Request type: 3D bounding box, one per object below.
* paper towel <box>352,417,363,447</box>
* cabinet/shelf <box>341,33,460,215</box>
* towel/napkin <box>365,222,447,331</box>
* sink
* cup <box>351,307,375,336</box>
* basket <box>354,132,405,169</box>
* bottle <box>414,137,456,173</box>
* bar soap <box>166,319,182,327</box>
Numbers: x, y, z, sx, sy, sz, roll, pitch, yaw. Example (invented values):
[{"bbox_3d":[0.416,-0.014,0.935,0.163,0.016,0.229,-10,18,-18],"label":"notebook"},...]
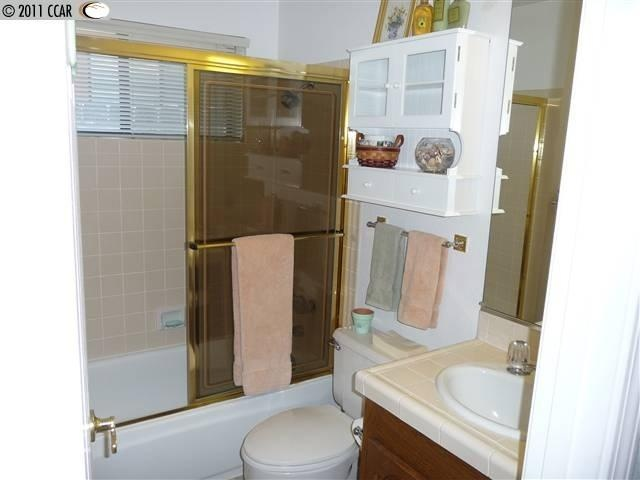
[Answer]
[{"bbox_3d":[0.151,0.770,1.995,0.027,0.102,0.109,-5,-19,-14],"label":"paper towel"},{"bbox_3d":[0.375,-0.488,2.107,0.210,0.686,0.622,-10,15,-34],"label":"cabinet/shelf"},{"bbox_3d":[0.401,0.156,2.243,0.077,0.368,0.479,-1,9,-27],"label":"towel/napkin"},{"bbox_3d":[0.514,0.536,1.582,0.280,0.160,0.375,5,13,26],"label":"sink"},{"bbox_3d":[0.222,0.404,2.475,0.107,0.097,0.114,0,-2,0],"label":"cup"},{"bbox_3d":[0.269,-0.405,2.249,0.230,0.151,0.225,3,8,-12],"label":"basket"},{"bbox_3d":[0.457,-0.342,1.954,0.022,0.146,0.188,-14,17,-40],"label":"bottle"},{"bbox_3d":[-0.924,0.521,3.128,0.063,0.015,0.040,-6,15,-41],"label":"bar soap"}]
